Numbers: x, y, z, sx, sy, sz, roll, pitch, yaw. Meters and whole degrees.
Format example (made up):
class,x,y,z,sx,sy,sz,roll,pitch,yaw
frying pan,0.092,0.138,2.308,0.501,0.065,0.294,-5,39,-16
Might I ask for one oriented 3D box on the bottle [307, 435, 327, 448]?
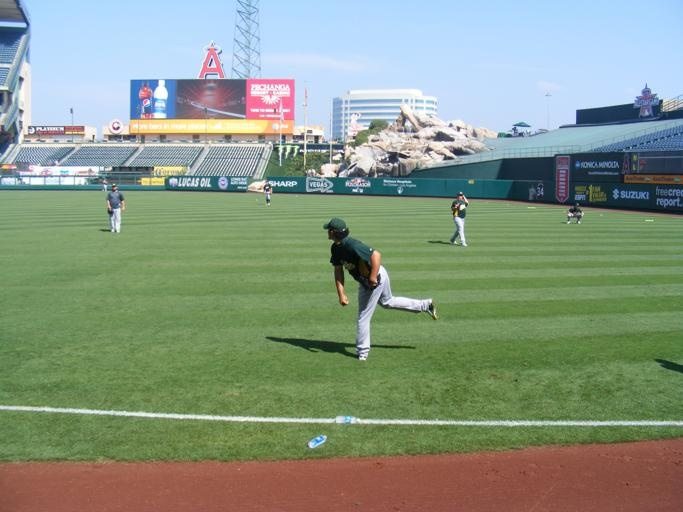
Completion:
class,x,y,z,sx,sy,sz,roll,pitch,yaw
bottle,-0.268,2.163,8.505,0.170,0.066,0.258,9,16,28

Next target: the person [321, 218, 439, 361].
class,x,y,z,sx,sy,sz,roll,pitch,yaw
person,0.432,0.450,10.715,1.342,2.068,0.721,2,15,5

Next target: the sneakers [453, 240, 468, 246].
class,x,y,z,sx,sy,sz,roll,pitch,yaw
sneakers,3.636,-0.372,22.284,0.449,0.174,0.155,3,7,38

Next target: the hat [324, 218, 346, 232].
class,x,y,z,sx,sy,sz,roll,pitch,yaw
hat,-0.099,-0.415,10.284,0.262,0.139,0.193,18,18,41
